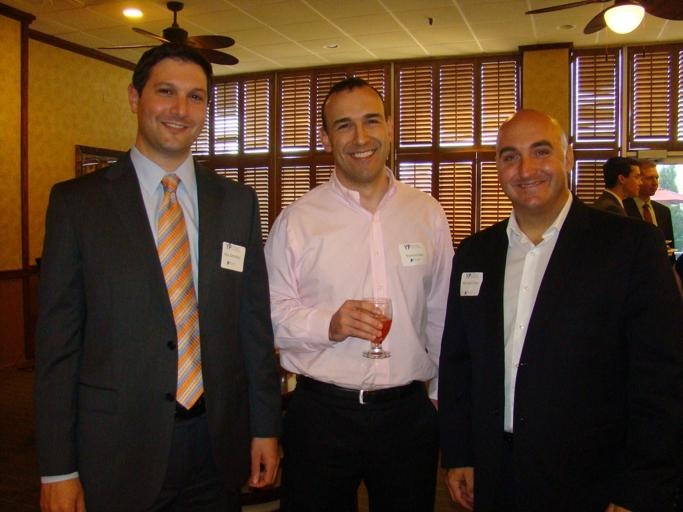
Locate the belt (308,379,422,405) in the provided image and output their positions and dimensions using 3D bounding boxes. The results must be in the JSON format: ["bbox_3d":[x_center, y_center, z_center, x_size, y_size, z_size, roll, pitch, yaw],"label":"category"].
[{"bbox_3d":[0.089,0.559,2.257,0.539,0.091,0.146,-2,3,1],"label":"belt"}]

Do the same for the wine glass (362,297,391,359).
[{"bbox_3d":[0.149,0.294,2.196,0.113,0.251,0.232,-1,3,6],"label":"wine glass"}]

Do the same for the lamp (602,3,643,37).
[{"bbox_3d":[2.382,-2.035,4.538,0.292,0.197,0.345,-1,3,27],"label":"lamp"}]
